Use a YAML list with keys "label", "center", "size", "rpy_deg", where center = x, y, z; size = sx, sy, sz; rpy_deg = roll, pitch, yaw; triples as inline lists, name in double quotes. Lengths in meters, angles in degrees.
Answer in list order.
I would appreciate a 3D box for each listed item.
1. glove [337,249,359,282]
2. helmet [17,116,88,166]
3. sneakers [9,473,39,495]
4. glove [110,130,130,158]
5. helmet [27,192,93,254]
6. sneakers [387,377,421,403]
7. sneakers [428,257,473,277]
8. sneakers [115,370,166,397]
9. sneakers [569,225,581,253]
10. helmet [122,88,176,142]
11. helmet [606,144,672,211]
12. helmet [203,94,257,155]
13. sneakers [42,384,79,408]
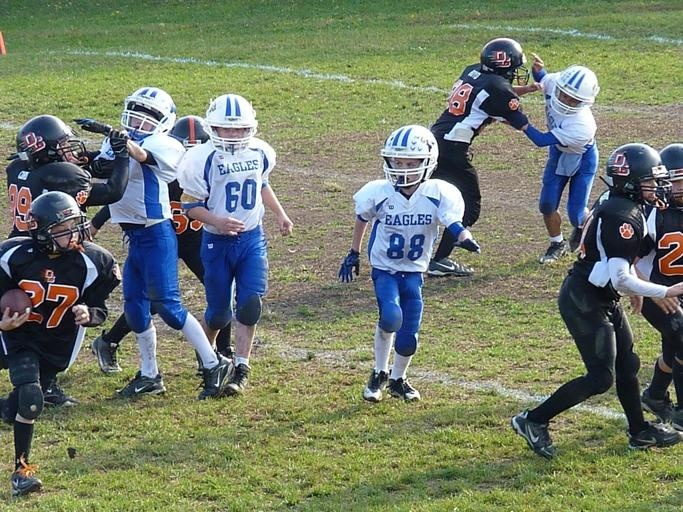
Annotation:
- label: "glove"
  center: [0.093, 0.093, 11.193]
  size: [0.252, 0.340, 0.097]
  rpy_deg: [20, 43, 9]
- label: "helmet"
  center: [-2.641, -1.036, 10.530]
  size: [0.652, 0.406, 0.433]
  rpy_deg: [-10, 21, -11]
- label: "sneakers"
  center: [-2.602, 1.905, 9.587]
  size: [0.314, 0.102, 0.137]
  rpy_deg: [-2, -20, 27]
- label: "glove"
  center: [-2.023, -1.025, 10.537]
  size: [0.172, 0.251, 0.107]
  rpy_deg: [0, 18, -10]
- label: "helmet"
  center: [-2.406, -0.291, 9.806]
  size: [0.601, 0.417, 0.452]
  rpy_deg: [13, 18, 33]
- label: "sneakers"
  center: [0.581, 1.261, 10.873]
  size: [0.351, 0.151, 0.160]
  rpy_deg: [15, 34, 23]
- label: "sneakers"
  center: [1.249, 0.133, 13.452]
  size: [0.574, 0.218, 0.202]
  rpy_deg: [-1, 9, -2]
- label: "sneakers"
  center: [-1.892, 1.254, 11.182]
  size: [0.595, 0.230, 0.179]
  rpy_deg: [-2, -2, -9]
- label: "sneakers"
  center: [2.701, -0.186, 13.351]
  size: [0.126, 0.310, 0.235]
  rpy_deg: [11, 0, -5]
- label: "helmet"
  center: [-1.835, -1.372, 11.236]
  size: [0.491, 0.429, 0.590]
  rpy_deg: [9, 3, 15]
- label: "helmet"
  center: [2.616, -0.727, 10.087]
  size: [0.651, 0.443, 0.470]
  rpy_deg: [9, 17, 21]
- label: "helmet"
  center: [-1.115, -1.282, 11.022]
  size: [0.536, 0.438, 0.561]
  rpy_deg: [-2, 33, -13]
- label: "sneakers"
  center: [-2.654, 1.289, 10.867]
  size: [0.276, 0.176, 0.304]
  rpy_deg: [-5, 17, -25]
